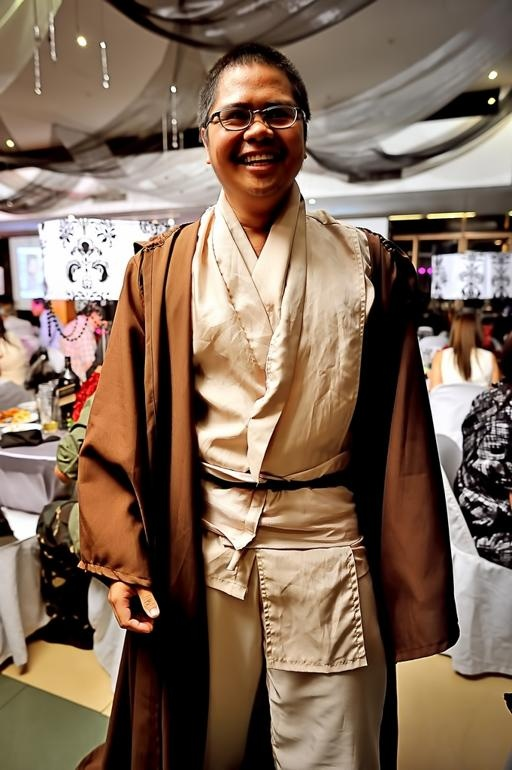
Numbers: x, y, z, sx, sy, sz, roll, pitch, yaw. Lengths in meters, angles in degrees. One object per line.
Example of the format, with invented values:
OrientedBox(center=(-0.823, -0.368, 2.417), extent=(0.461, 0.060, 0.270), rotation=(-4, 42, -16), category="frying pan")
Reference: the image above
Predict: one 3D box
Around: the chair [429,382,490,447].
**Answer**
OrientedBox(center=(0.824, 0.120, 2.358), extent=(0.227, 0.328, 0.246), rotation=(4, -6, 13), category="chair")
